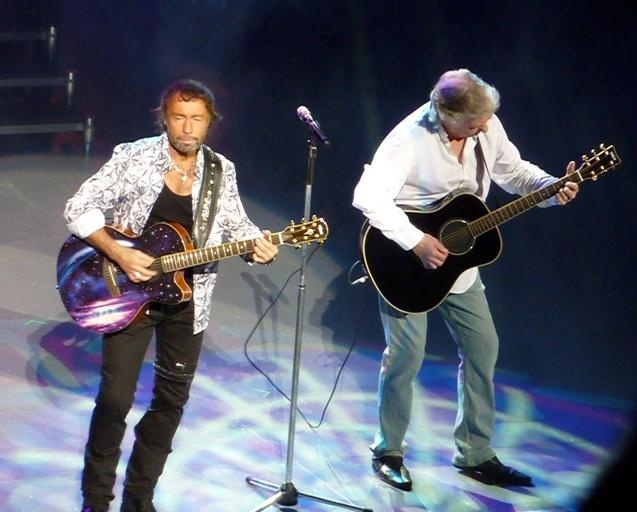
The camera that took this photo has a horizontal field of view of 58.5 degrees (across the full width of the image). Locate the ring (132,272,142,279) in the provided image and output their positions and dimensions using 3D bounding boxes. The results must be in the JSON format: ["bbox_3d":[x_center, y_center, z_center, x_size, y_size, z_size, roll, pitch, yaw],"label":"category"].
[{"bbox_3d":[-0.858,0.094,2.685,0.025,0.030,0.006,3,-3,-11],"label":"ring"}]

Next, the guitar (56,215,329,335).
[{"bbox_3d":[-0.621,0.040,2.794,1.341,0.620,0.147,-13,4,-1],"label":"guitar"}]

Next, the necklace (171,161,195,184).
[{"bbox_3d":[-0.652,-0.397,2.754,0.112,0.029,0.087,23,33,-27],"label":"necklace"}]

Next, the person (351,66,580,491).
[{"bbox_3d":[0.803,0.190,3.184,1.077,2.524,0.890,-2,12,-10],"label":"person"}]

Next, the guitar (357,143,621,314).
[{"bbox_3d":[0.807,-0.153,3.284,1.650,0.758,0.250,-30,10,-3],"label":"guitar"}]

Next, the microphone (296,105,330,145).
[{"bbox_3d":[-0.031,-0.632,2.751,0.143,0.142,0.350,8,12,-4],"label":"microphone"}]

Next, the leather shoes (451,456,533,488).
[{"bbox_3d":[0.999,1.203,3.317,0.426,0.214,0.145,1,3,25],"label":"leather shoes"}]
